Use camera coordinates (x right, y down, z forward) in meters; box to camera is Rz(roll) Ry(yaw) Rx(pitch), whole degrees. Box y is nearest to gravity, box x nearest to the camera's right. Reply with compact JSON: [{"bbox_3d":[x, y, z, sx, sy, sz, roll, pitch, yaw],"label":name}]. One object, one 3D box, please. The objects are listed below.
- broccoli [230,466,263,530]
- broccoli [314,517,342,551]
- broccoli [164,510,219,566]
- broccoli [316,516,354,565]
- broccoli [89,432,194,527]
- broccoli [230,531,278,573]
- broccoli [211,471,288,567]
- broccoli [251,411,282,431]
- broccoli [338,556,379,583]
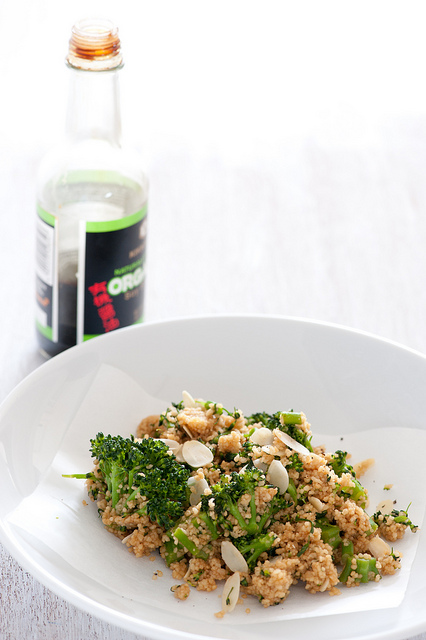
[{"bbox_3d":[0.041,0.210,0.739,0.046,0.065,0.042,-4,-6,-6],"label":"broccoli"},{"bbox_3d":[0.138,0.261,0.742,0.031,0.032,0.047,-1,15,-3],"label":"broccoli"},{"bbox_3d":[-0.025,0.249,0.718,0.079,0.057,0.030,-9,-28,-2],"label":"broccoli"},{"bbox_3d":[0.143,0.262,0.741,0.013,0.047,0.046,-32,25,0],"label":"broccoli"},{"bbox_3d":[-0.093,0.178,0.775,0.058,0.079,0.099,17,-29,12],"label":"broccoli"},{"bbox_3d":[0.048,0.261,0.713,0.054,0.020,0.040,-15,13,21],"label":"broccoli"},{"bbox_3d":[0.034,0.217,0.739,0.089,0.047,0.065,14,-17,23],"label":"broccoli"},{"bbox_3d":[0.077,0.143,0.896,0.033,0.015,0.034,13,12,-36],"label":"broccoli"},{"bbox_3d":[0.163,0.282,0.705,0.042,0.030,0.021,4,16,15],"label":"broccoli"}]
